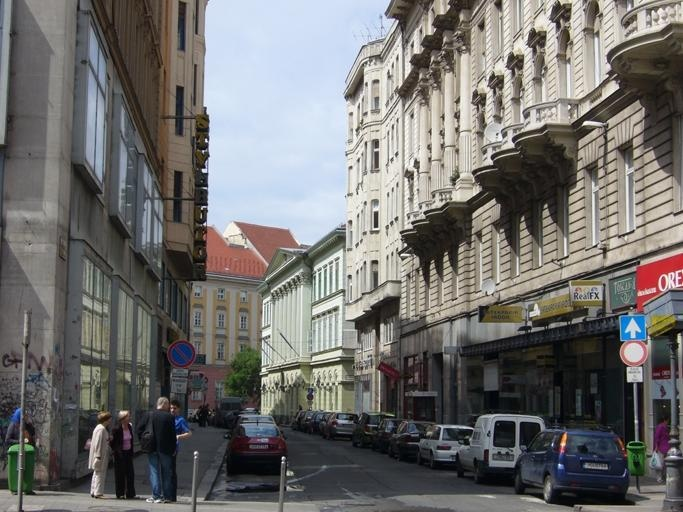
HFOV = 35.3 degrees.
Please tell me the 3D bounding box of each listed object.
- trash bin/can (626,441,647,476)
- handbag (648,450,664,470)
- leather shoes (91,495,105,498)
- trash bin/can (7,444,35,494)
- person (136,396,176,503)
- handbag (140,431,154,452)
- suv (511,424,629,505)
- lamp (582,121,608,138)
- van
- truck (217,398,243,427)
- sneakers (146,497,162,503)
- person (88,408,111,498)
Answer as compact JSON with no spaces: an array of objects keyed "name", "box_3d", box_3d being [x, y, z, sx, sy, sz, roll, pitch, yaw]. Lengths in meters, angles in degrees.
[{"name":"trash bin/can","box_3d":[8.423,5.728,30.577,0.538,0.877,0.643,5,-9,-5]},{"name":"handbag","box_3d":[8.831,5.696,30.201,0.362,0.503,0.568,-5,-19,18]},{"name":"leather shoes","box_3d":[-6.005,5.942,26.650,0.255,0.095,0.098,-2,-9,29]},{"name":"trash bin/can","box_3d":[-7.698,5.052,25.837,0.669,1.207,1.551,6,-19,-15]},{"name":"person","box_3d":[-4.540,4.797,26.659,0.859,2.573,0.976,2,-16,-3]},{"name":"handbag","box_3d":[-4.735,4.523,26.332,0.364,0.648,0.297,-1,-8,1]},{"name":"suv","box_3d":[6.068,5.676,29.444,1.457,1.501,2.897,3,-7,-11]},{"name":"lamp","box_3d":[8.928,-4.551,37.825,0.719,0.373,0.475,6,-11,-7]},{"name":"van","box_3d":[4.764,6.029,33.817,1.418,1.497,2.698,2,-7,-5]},{"name":"truck","box_3d":[-8.459,11.671,80.879,1.340,1.694,2.645,1,-9,-6]},{"name":"sneakers","box_3d":[-4.608,5.991,26.421,0.344,0.200,0.166,5,-5,19]},{"name":"person","box_3d":[-6.140,5.057,27.236,0.495,2.224,1.230,4,-17,-12]}]
